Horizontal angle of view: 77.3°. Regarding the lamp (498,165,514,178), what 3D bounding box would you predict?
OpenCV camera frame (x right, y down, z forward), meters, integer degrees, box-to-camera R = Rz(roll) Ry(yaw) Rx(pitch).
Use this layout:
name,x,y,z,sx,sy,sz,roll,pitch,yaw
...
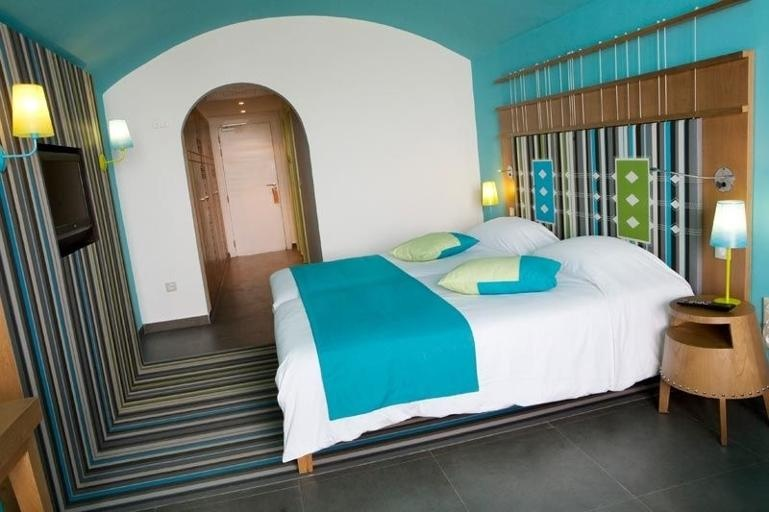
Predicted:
name,x,y,z,sx,sy,sz,roll,pitch,yaw
lamp,1.350,-0.929,5.337,0.101,0.161,0.165,-3,12,-24

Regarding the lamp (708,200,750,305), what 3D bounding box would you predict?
name,x,y,z,sx,sy,sz,roll,pitch,yaw
lamp,2.247,-0.025,3.170,0.183,0.692,0.380,1,14,37

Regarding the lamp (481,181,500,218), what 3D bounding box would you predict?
name,x,y,z,sx,sy,sz,roll,pitch,yaw
lamp,1.240,-0.645,5.744,0.175,0.480,0.442,-8,11,-3

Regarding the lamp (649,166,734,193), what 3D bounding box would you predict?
name,x,y,z,sx,sy,sz,roll,pitch,yaw
lamp,2.216,-0.535,3.364,0.280,0.144,0.161,-6,15,-17

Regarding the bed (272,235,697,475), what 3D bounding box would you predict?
name,x,y,z,sx,sy,sz,roll,pitch,yaw
bed,0.667,0.529,3.446,2.272,0.834,1.547,-8,27,-11
